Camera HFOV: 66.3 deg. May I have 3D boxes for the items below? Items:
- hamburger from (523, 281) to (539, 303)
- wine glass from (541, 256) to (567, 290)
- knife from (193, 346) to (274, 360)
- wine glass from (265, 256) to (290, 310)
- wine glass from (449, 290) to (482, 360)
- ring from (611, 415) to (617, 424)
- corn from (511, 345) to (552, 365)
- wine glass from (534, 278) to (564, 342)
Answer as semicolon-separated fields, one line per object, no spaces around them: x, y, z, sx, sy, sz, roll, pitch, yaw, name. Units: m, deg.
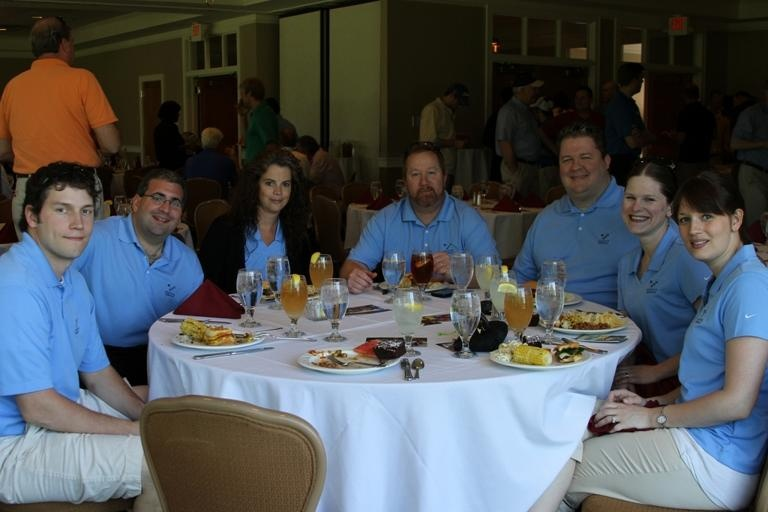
0.596;0.145;2.377;0.068;0.075;0.073;2;13;14;hamburger
0.704;0.063;2.431;0.131;0.166;0.140;-2;-1;18;wine glass
-0.550;0.348;2.107;0.211;0.011;0.028;-1;19;-24;knife
-0.470;0.115;2.585;0.122;0.231;0.127;6;14;30;wine glass
0.284;0.233;2.070;0.100;0.257;0.105;-2;15;8;wine glass
0.823;0.586;2.103;0.012;0.022;0.020;-5;8;-8;ring
0.491;0.323;1.970;0.105;0.046;0.062;0;-1;44;corn
0.619;0.208;2.197;0.101;0.267;0.099;2;20;22;wine glass
